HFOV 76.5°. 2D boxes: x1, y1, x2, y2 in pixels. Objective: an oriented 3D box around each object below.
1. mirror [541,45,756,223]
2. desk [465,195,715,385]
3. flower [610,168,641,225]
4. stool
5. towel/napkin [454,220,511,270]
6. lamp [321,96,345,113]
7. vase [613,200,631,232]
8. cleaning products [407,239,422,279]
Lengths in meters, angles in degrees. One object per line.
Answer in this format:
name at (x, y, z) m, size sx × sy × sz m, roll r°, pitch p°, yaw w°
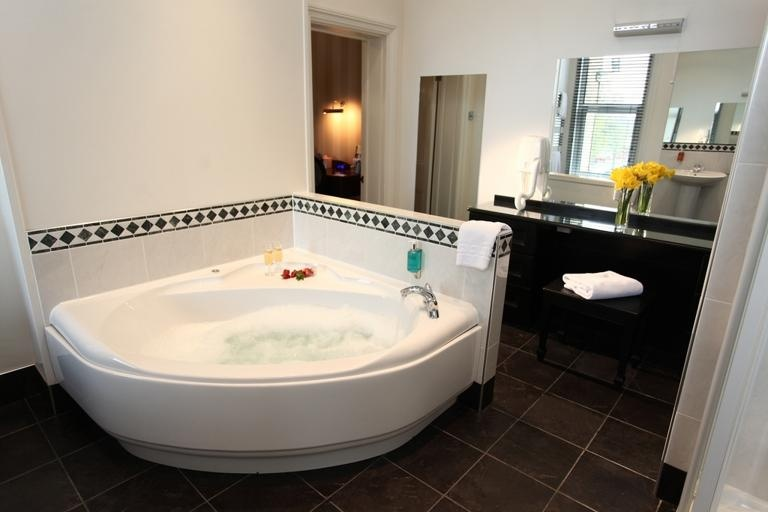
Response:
mirror at (2.078, -0.974, 3.757) m, size 0.055 × 1.294 × 1.449 m, roll -20°, pitch 27°, yaw -40°
desk at (1.614, 0.284, 3.704) m, size 0.419 × 0.840 × 1.231 m, roll -17°, pitch 26°, yaw -40°
flower at (1.945, -0.455, 3.901) m, size 0.232 × 0.414 × 0.261 m, roll 9°, pitch 9°, yaw 21°
stool at (1.678, 0.584, 3.914) m, size 0.687 × 0.681 × 0.550 m, roll 14°, pitch 23°, yaw 35°
towel/napkin at (0.595, -0.068, 3.166) m, size 0.314 × 0.334 × 0.126 m, roll 8°, pitch 12°, yaw 34°
lamp at (-0.787, -2.353, 7.689) m, size 0.358 × 0.257 × 0.291 m, roll -3°, pitch 18°, yaw -12°
vase at (1.919, -0.377, 3.887) m, size 0.105 × 0.298 × 0.397 m, roll 10°, pitch 20°, yaw 25°
cleaning products at (0.216, 0.038, 3.461) m, size 0.100 × 0.256 × 0.087 m, roll 0°, pitch 17°, yaw 7°
